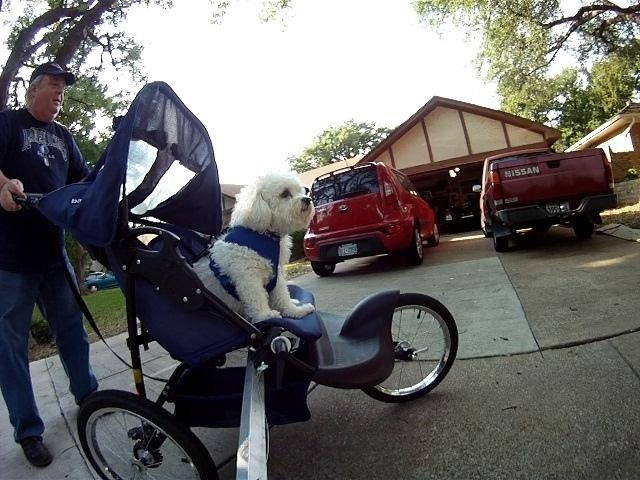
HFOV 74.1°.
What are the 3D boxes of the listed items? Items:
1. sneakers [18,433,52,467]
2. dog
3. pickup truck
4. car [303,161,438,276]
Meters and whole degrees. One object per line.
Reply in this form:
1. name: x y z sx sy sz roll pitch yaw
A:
1. sneakers: -2.012 1.460 2.987 0.345 0.121 0.119 15 12 37
2. dog: -0.557 0.100 3.067 1.032 1.014 0.630 -8 -6 25
3. pickup truck: 4.138 -0.781 8.417 1.882 1.515 3.665 -8 0 16
4. car: 1.087 -0.574 8.057 1.476 1.401 2.775 -8 9 25
